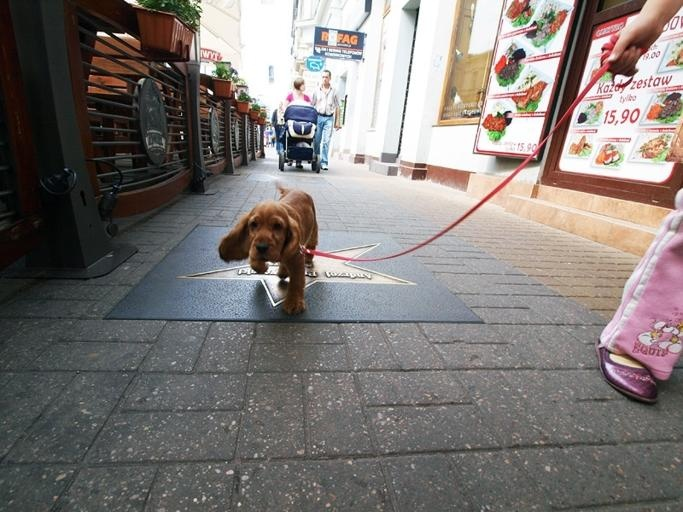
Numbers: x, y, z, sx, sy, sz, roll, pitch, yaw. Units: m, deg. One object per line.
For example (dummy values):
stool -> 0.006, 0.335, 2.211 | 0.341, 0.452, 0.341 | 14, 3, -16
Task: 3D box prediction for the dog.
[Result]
dog -> -0.482, -0.140, 2.955 | 0.494, 0.636, 1.124 | 3, 16, 2
